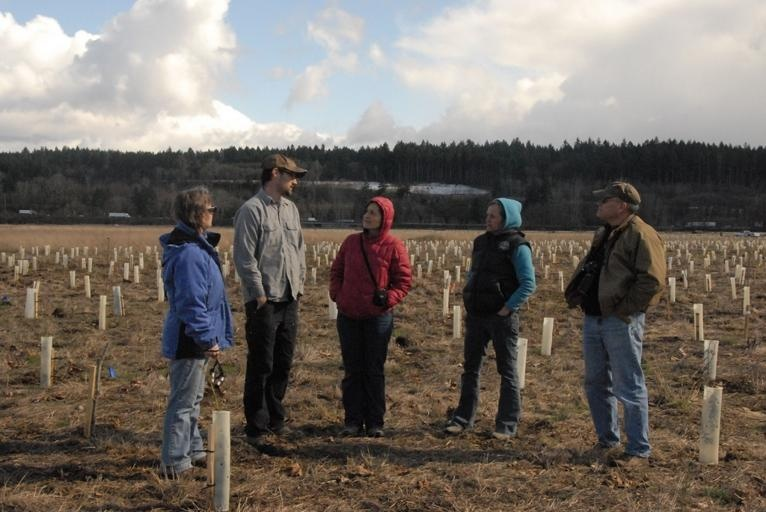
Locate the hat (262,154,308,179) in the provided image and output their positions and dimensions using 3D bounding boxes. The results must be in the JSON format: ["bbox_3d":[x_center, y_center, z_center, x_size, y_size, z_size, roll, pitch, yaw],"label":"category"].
[{"bbox_3d":[-1.634,-1.547,13.628,0.615,0.272,0.402,11,5,-22],"label":"hat"}]

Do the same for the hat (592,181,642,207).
[{"bbox_3d":[3.841,-1.045,13.275,0.649,0.314,0.466,15,6,10],"label":"hat"}]

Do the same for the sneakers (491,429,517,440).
[{"bbox_3d":[2.031,2.965,13.610,0.403,0.161,0.165,0,-5,-30],"label":"sneakers"}]

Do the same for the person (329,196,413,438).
[{"bbox_3d":[-0.231,0.992,13.816,1.289,3.997,0.637,1,3,-4],"label":"person"}]

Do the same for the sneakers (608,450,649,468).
[{"bbox_3d":[3.938,3.236,13.002,0.593,0.236,0.280,3,3,16],"label":"sneakers"}]

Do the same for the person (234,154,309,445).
[{"bbox_3d":[-1.884,0.639,13.499,1.199,4.654,0.470,-1,4,-34],"label":"person"}]
